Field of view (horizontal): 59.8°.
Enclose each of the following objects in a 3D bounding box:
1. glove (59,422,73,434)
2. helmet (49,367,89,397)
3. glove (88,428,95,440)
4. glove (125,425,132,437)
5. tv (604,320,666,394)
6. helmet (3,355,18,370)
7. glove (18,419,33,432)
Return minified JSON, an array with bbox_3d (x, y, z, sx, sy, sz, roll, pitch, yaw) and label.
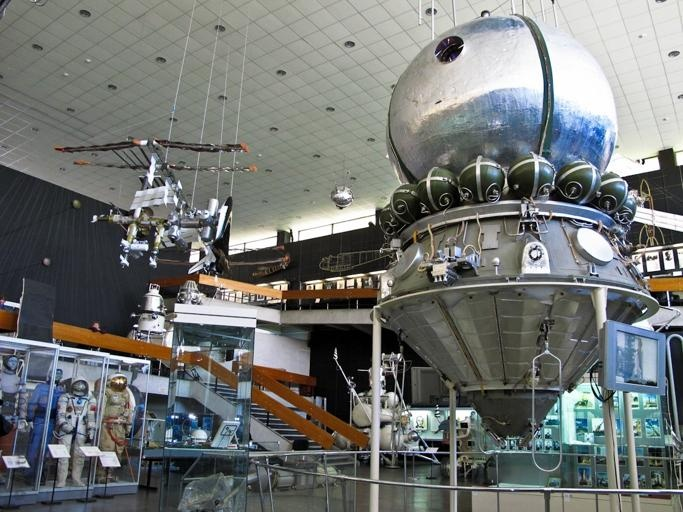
[{"bbox_3d":[-5.737,3.591,12.377,0.199,0.227,0.111,25,28,-22],"label":"glove"},{"bbox_3d":[-5.791,2.713,12.653,0.727,0.422,0.413,2,-1,19],"label":"helmet"},{"bbox_3d":[-5.447,3.853,12.898,0.148,0.208,0.056,7,1,-30],"label":"glove"},{"bbox_3d":[-4.839,3.956,13.469,0.087,0.227,0.098,9,10,29],"label":"glove"},{"bbox_3d":[3.432,1.242,7.106,1.208,0.783,0.161,14,-15,-32],"label":"tv"},{"bbox_3d":[-6.483,2.086,11.602,0.235,0.250,0.270,12,8,-29],"label":"helmet"},{"bbox_3d":[-6.302,3.356,11.782,0.053,0.252,0.266,-11,-23,28],"label":"glove"}]
